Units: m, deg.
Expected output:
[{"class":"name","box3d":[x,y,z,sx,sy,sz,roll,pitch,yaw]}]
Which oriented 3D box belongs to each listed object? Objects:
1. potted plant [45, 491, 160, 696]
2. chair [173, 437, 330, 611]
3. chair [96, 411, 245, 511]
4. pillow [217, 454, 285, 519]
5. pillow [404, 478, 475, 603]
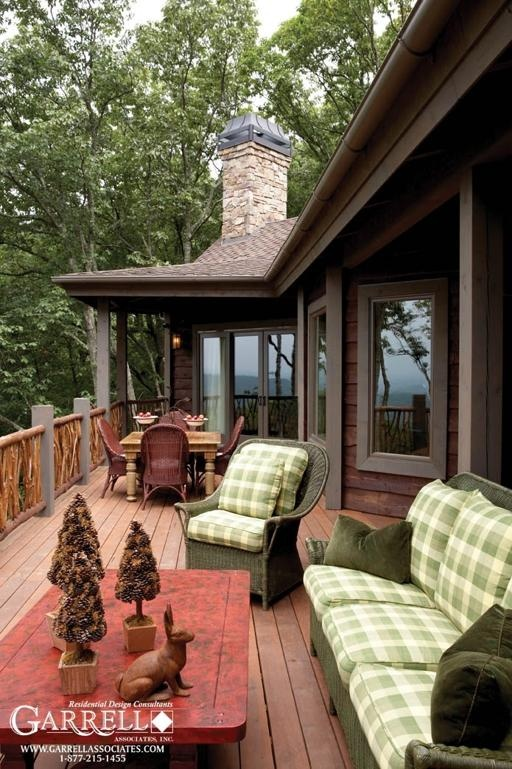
[{"class":"potted plant","box3d":[-0.422,0.551,1.432,0.261,0.500,0.285,3,4,-29]},{"class":"chair","box3d":[0.007,0.698,3.290,0.798,0.978,0.850,1,1,42]},{"class":"chair","box3d":[-1.149,0.716,5.859,0.986,0.697,1.329,-1,3,-7]},{"class":"pillow","box3d":[-0.027,0.634,3.284,0.294,0.390,0.335,3,4,-39]},{"class":"pillow","box3d":[0.715,0.620,1.990,0.160,0.493,0.366,14,-7,-22]}]
